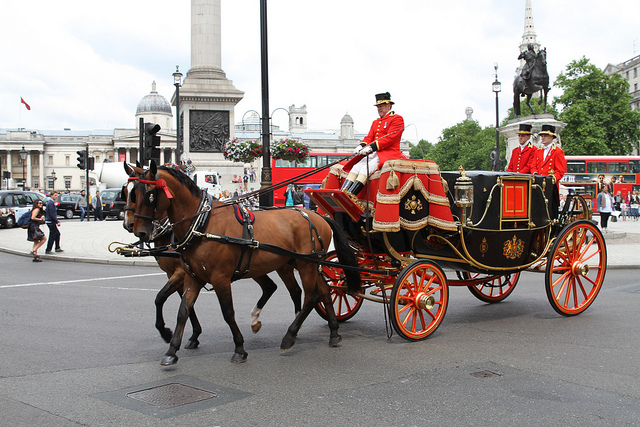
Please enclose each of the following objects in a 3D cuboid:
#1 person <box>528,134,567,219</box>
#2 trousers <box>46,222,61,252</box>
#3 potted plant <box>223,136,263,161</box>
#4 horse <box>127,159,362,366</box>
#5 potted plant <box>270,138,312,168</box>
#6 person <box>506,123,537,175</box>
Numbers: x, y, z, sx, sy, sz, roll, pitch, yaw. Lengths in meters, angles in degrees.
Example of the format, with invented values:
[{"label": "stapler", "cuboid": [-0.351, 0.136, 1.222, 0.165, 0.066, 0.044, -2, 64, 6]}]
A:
[{"label": "person", "cuboid": [4.302, -0.612, 15.081, 0.750, 1.891, 0.857, -10, 11, -29]}, {"label": "trousers", "cuboid": [-7.797, 0.666, 22.907, 0.387, 0.903, 0.667, -5, 14, -15]}, {"label": "potted plant", "cuboid": [-3.297, -2.684, 33.605, 1.212, 0.872, 2.528, -7, 13, -27]}, {"label": "horse", "cuboid": [-1.110, 0.636, 11.930, 3.256, 2.979, 1.086, -5, 15, -19]}, {"label": "potted plant", "cuboid": [-1.346, -2.529, 32.112, 1.651, 0.889, 1.517, -1, 3, -21]}, {"label": "person", "cuboid": [3.908, -1.194, 15.558, 0.787, 1.112, 0.651, -2, 4, -24]}]
